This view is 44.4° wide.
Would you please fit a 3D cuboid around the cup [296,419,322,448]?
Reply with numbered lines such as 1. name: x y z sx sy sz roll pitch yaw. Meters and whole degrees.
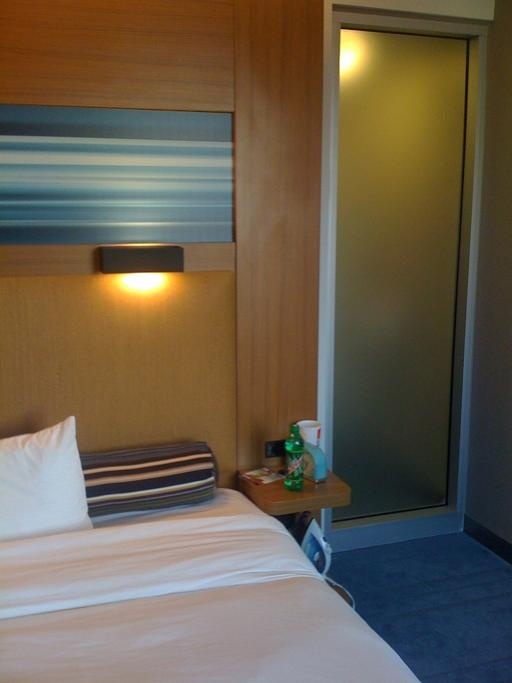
1. cup: 0.221 0.373 2.566 0.085 0.075 0.106 -1 8 0

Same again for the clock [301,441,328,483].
1. clock: 0.228 0.487 2.503 0.058 0.135 0.157 -4 7 -27
